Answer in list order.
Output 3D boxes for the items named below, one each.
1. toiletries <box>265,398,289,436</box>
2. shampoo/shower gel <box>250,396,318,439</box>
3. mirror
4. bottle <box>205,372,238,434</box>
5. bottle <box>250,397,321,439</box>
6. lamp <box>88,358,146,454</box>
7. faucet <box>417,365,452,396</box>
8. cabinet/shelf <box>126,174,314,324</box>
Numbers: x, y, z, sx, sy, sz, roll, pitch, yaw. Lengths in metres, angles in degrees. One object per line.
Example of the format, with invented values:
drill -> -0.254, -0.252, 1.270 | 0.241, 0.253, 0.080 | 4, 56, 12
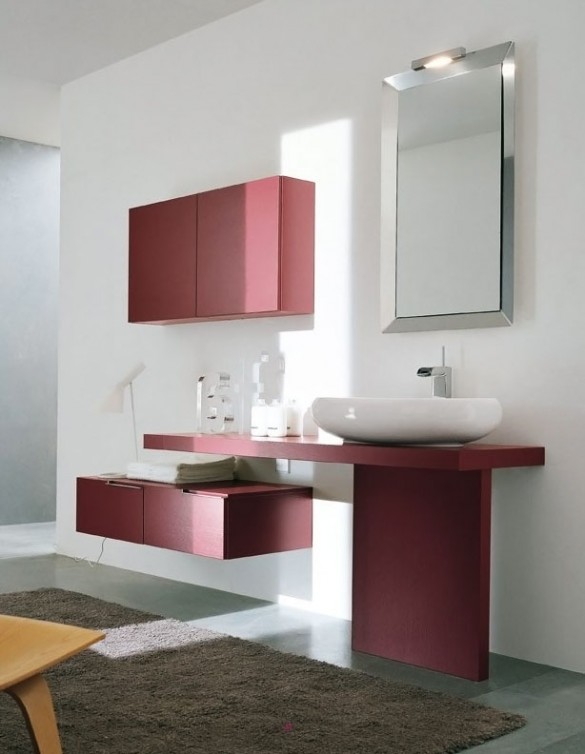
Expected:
toiletries -> -0.062, 0.164, 2.913 | 0.089, 0.146, 0.100 | 1, -6, 4
shampoo/shower gel -> -0.021, 0.166, 2.981 | 0.171, 0.130, 0.217 | 0, 0, 44
mirror -> 0.523, -0.633, 2.581 | 0.109, 0.943, 0.575 | 7, -8, -43
bottle -> -0.315, 0.111, 3.322 | 0.153, 0.282, 0.392 | 2, -6, -7
bottle -> -0.034, 0.173, 2.990 | 0.173, 0.129, 0.213 | 0, -1, 31
lamp -> -0.847, 0.172, 3.732 | 0.192, 0.472, 0.570 | 2, -6, -11
faucet -> 0.504, 0.011, 2.539 | 0.129, 0.147, 0.080 | 0, -1, -16
cabinet/shelf -> -0.330, -0.542, 3.354 | 1.002, 0.523, 0.290 | 1, 1, 39
